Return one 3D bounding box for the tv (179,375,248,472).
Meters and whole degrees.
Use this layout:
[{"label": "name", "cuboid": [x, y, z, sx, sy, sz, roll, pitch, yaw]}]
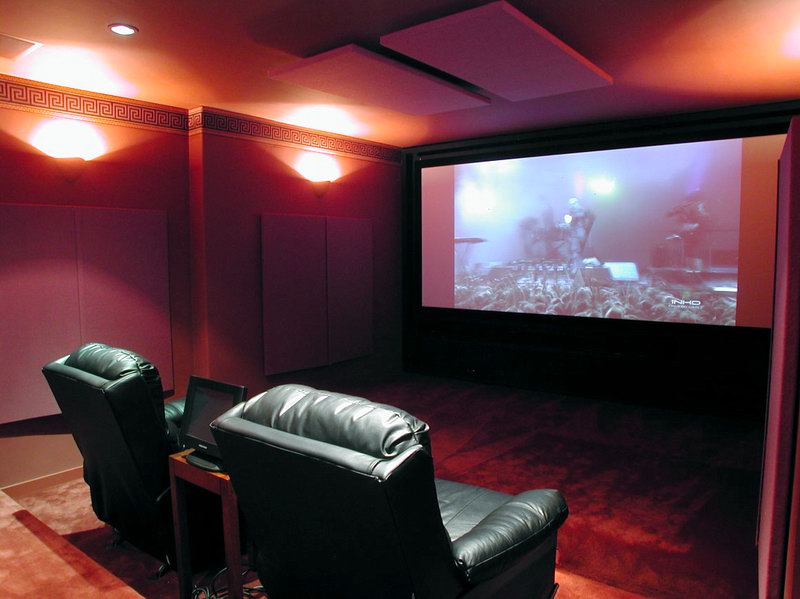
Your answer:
[{"label": "tv", "cuboid": [-0.865, 0.588, 2.653, 0.402, 0.392, 0.186, 3, 5, 41]}]
